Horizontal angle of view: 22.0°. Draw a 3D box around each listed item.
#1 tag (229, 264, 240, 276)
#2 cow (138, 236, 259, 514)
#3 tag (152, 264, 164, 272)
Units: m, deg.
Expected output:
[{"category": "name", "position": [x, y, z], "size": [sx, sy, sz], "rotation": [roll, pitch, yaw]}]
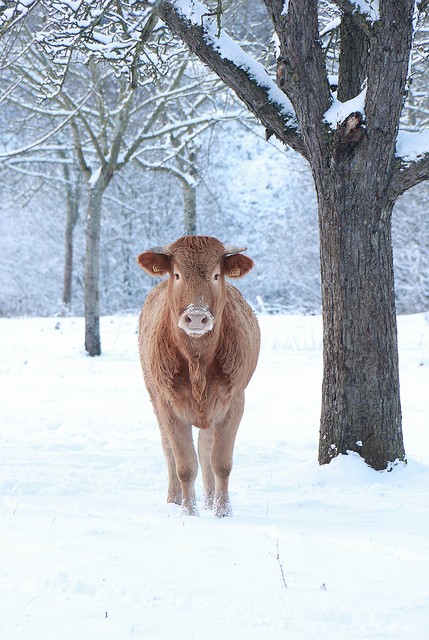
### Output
[{"category": "tag", "position": [0.164, -0.380, 8.346], "size": [0.048, 0.095, 0.022], "rotation": [0, -3, 12]}, {"category": "cow", "position": [-0.083, 0.523, 8.871], "size": [0.808, 2.265, 3.063], "rotation": [2, -2, 3]}, {"category": "tag", "position": [-0.419, -0.401, 8.337], "size": [0.066, 0.052, 0.020], "rotation": [-4, 5, 6]}]
